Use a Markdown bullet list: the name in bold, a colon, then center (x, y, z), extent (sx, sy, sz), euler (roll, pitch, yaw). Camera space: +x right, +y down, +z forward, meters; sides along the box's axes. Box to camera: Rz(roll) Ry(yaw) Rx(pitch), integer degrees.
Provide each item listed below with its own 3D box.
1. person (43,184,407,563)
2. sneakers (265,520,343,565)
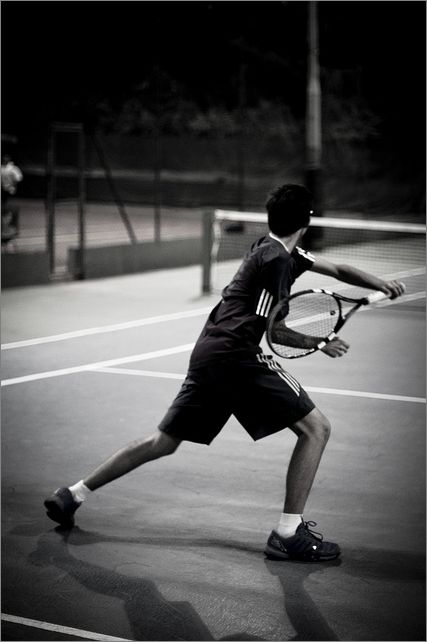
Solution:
- **person**: center (0.102, 0.214, 2.289), extent (1.391, 1.620, 0.384), euler (0, 2, 12)
- **sneakers**: center (0.370, 0.938, 2.298), extent (0.395, 0.195, 0.137), euler (2, -1, 0)
